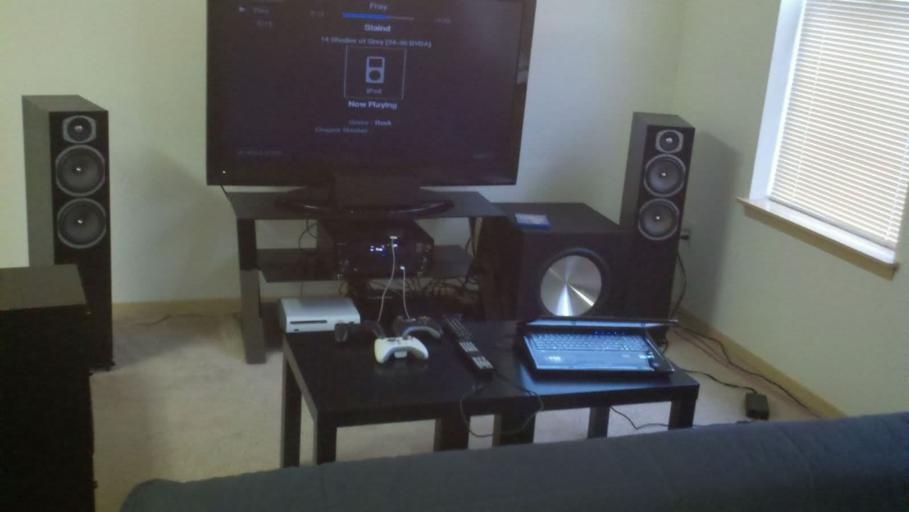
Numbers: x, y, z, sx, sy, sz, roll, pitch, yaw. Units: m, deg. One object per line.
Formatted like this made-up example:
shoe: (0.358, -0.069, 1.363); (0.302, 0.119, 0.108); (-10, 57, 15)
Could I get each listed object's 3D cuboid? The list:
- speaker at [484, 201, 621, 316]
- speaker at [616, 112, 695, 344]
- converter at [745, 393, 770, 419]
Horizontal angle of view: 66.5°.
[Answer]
speaker: (0.576, -0.023, 4.289); (0.737, 0.530, 0.736); (-1, 15, -4)
speaker: (1.199, -0.237, 4.165); (0.394, 1.220, 0.220); (0, 11, 2)
converter: (1.617, 0.803, 3.695); (0.137, 0.060, 0.167); (6, 21, 11)
